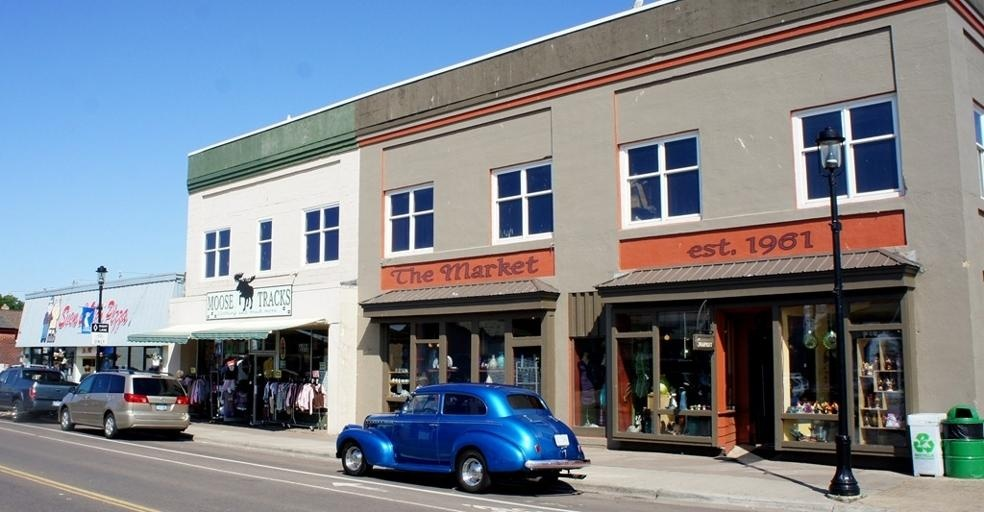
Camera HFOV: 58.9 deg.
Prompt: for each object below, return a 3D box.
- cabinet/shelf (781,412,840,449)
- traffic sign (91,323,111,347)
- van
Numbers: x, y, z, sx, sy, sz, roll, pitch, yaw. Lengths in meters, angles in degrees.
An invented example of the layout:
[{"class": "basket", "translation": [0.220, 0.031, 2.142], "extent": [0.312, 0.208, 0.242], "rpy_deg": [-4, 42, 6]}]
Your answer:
[{"class": "cabinet/shelf", "translation": [10.802, 5.930, 29.614], "extent": [2.208, 1.021, 1.279], "rpy_deg": [-2, 0, 20]}, {"class": "traffic sign", "translation": [-19.584, 3.904, 43.673], "extent": [0.719, 1.220, 1.382], "rpy_deg": [-3, 5, -27]}, {"class": "van", "translation": [-15.257, 6.000, 36.213], "extent": [5.319, 2.678, 1.709], "rpy_deg": [2, 5, 25]}]
